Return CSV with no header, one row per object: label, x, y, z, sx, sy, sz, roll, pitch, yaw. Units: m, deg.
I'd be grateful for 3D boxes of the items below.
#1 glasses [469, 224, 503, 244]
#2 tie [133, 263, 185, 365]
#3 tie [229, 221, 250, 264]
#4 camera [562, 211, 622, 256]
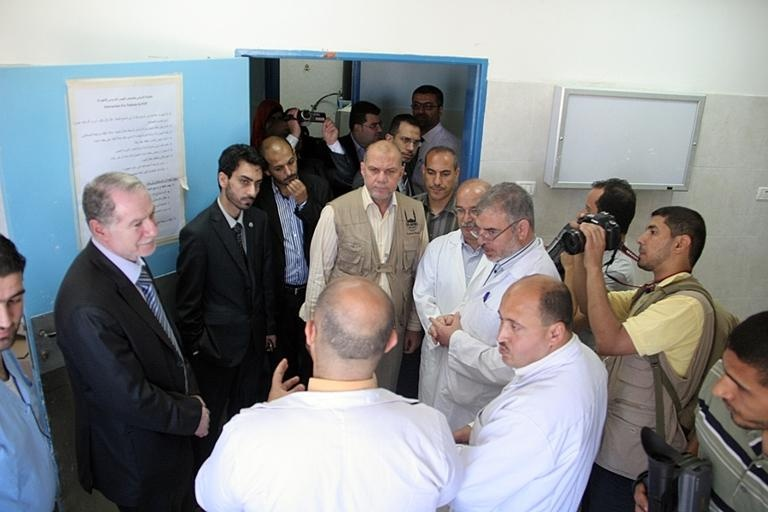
glasses,0.592,-0.134,3.183,0.119,0.140,0.357,-2,14,-4
tie,-1.205,0.292,2.911,0.173,0.513,0.054,-26,3,-21
tie,-0.924,-0.084,3.505,0.062,0.262,0.039,-9,-27,-8
camera,1.151,-0.132,3.065,0.295,0.187,0.319,10,16,42
